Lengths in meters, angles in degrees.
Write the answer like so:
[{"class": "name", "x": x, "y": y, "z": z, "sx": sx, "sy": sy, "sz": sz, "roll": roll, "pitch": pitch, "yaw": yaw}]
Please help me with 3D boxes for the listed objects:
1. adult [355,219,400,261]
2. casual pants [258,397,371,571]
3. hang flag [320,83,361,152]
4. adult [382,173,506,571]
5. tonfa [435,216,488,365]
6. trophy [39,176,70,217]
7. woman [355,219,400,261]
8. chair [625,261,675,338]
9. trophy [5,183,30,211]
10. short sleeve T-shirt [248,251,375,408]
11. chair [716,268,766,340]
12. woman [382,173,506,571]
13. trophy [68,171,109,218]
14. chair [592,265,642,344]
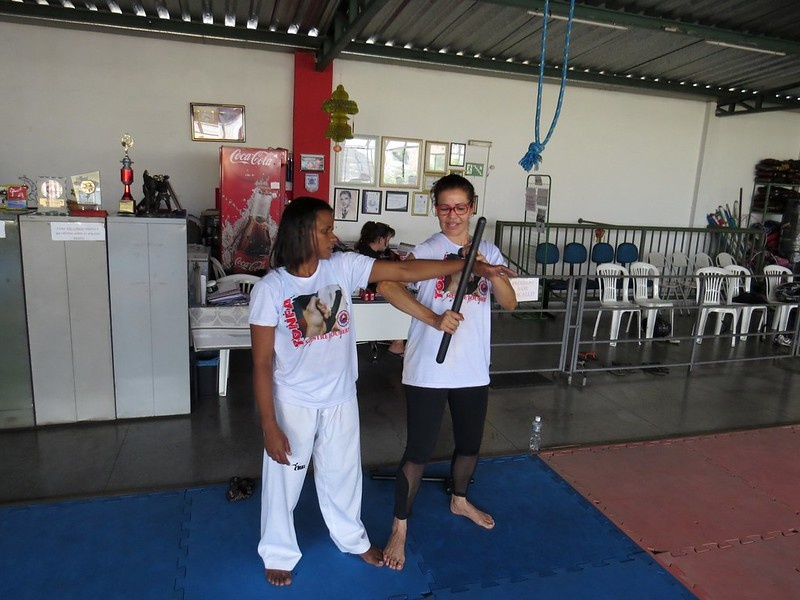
[{"class": "adult", "x": -0.297, "y": -0.611, "z": 6.513, "sx": 0.431, "sy": 0.573, "sz": 0.867, "roll": 1, "pitch": 5, "yaw": -14}, {"class": "casual pants", "x": -0.503, "y": 1.022, "z": 3.500, "sx": 0.690, "sy": 1.210, "sz": 0.344, "roll": -6, "pitch": 22, "yaw": -19}, {"class": "hang flag", "x": -0.734, "y": -2.209, "z": 6.993, "sx": 0.409, "sy": 0.790, "sz": 0.434, "roll": 3, "pitch": 16, "yaw": -1}, {"class": "adult", "x": 0.278, "y": 0.445, "z": 3.545, "sx": 0.903, "sy": 2.332, "sz": 0.714, "roll": -8, "pitch": 18, "yaw": -27}, {"class": "tonfa", "x": 0.365, "y": -0.032, "z": 3.463, "sx": 0.076, "sy": 0.947, "sz": 0.077, "roll": 19, "pitch": 13, "yaw": 6}, {"class": "trophy", "x": -2.887, "y": -0.859, "z": 4.768, "sx": 0.211, "sy": 0.295, "sz": 0.145, "roll": -5, "pitch": 14, "yaw": -33}, {"class": "woman", "x": -0.296, "y": -0.618, "z": 6.512, "sx": 0.412, "sy": 0.550, "sz": 0.838, "roll": 5, "pitch": 10, "yaw": -12}, {"class": "chair", "x": 3.312, "y": -0.001, "z": 8.061, "sx": 0.578, "sy": 0.958, "sz": 0.584, "roll": -1, "pitch": 1, "yaw": -14}, {"class": "trophy", "x": -3.187, "y": -0.861, "z": 4.873, "sx": 0.214, "sy": 0.272, "sz": 0.181, "roll": -3, "pitch": 14, "yaw": -32}, {"class": "short sleeve T-shirt", "x": -0.473, "y": 0.156, "z": 3.384, "sx": 0.879, "sy": 0.889, "sz": 0.336, "roll": -5, "pitch": 10, "yaw": -18}, {"class": "chair", "x": 4.907, "y": 0.043, "z": 8.064, "sx": 0.548, "sy": 0.963, "sz": 0.633, "roll": -10, "pitch": 9, "yaw": 17}, {"class": "woman", "x": 0.274, "y": 0.448, "z": 3.560, "sx": 0.871, "sy": 2.303, "sz": 0.690, "roll": -7, "pitch": 18, "yaw": -23}, {"class": "trophy", "x": -2.721, "y": -0.901, "z": 4.990, "sx": 0.302, "sy": 0.382, "sz": 0.320, "roll": 1, "pitch": 18, "yaw": -8}, {"class": "chair", "x": 2.831, "y": 0.037, "z": 7.533, "sx": 0.593, "sy": 0.992, "sz": 0.581, "roll": -1, "pitch": -2, "yaw": -35}]
